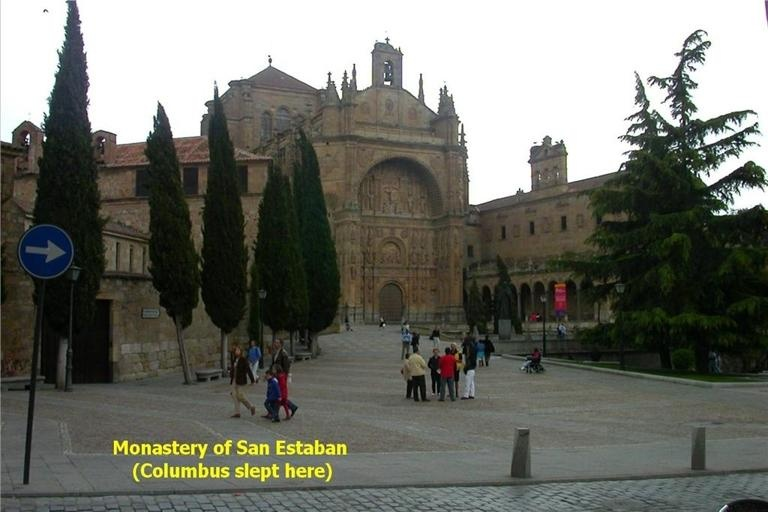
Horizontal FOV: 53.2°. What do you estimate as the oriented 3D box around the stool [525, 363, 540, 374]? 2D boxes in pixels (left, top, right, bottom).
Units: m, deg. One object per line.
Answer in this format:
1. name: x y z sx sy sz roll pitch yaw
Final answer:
1. stool: 6.616 5.008 33.850 0.518 0.446 0.387 2 0 -39
